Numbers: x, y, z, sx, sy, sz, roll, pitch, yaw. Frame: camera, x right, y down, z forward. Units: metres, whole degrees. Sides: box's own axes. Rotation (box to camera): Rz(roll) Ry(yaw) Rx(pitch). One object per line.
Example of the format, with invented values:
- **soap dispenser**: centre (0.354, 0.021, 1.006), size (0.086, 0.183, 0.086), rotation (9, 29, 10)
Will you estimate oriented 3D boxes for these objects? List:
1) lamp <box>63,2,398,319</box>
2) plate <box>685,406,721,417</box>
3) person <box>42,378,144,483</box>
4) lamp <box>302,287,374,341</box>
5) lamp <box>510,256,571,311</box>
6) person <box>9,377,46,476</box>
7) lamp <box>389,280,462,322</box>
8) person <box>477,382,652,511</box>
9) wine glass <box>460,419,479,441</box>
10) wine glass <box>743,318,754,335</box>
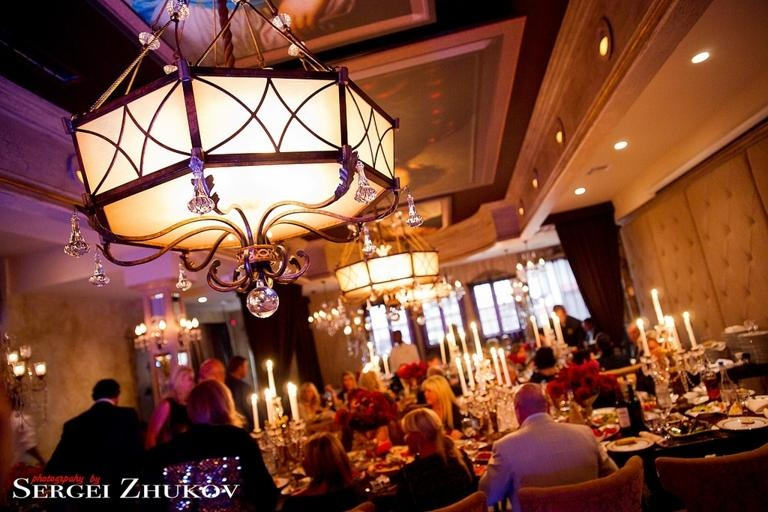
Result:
- **lamp**: centre (-0.804, -0.557, 2.831), size (1.652, 1.796, 0.869), rotation (-14, -16, 10)
- **plate**: centre (2.757, 1.341, 4.565), size (0.166, 0.041, 0.164), rotation (-3, -11, -42)
- **person**: centre (-2.693, 1.643, 5.012), size (0.794, 0.941, 0.373), rotation (-13, -16, 6)
- **lamp**: centre (-1.050, 1.427, 12.488), size (1.465, 1.030, 1.672), rotation (-15, -29, 34)
- **lamp**: centre (4.049, 0.661, 13.559), size (1.092, 1.375, 1.103), rotation (1, -21, -17)
- **person**: centre (-4.546, 2.183, 6.764), size (0.348, 1.103, 1.828), rotation (0, -20, -32)
- **lamp**: centre (0.529, 0.541, 7.027), size (0.767, 0.379, 0.758), rotation (4, -19, -35)
- **person**: centre (1.344, 1.424, 3.923), size (0.963, 0.538, 1.552), rotation (-13, -51, 12)
- **wine glass**: centre (0.812, 1.632, 4.974), size (0.192, 0.167, 0.221), rotation (-2, -4, 0)
- **wine glass**: centre (3.908, 0.766, 5.683), size (0.128, 0.142, 0.061), rotation (16, -29, 2)
